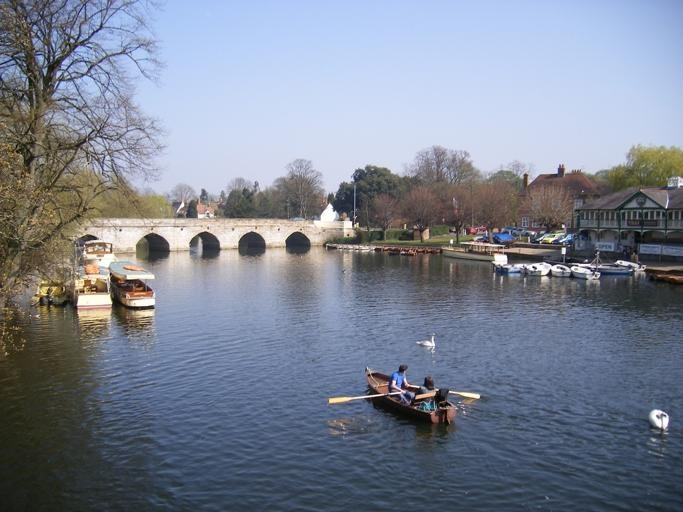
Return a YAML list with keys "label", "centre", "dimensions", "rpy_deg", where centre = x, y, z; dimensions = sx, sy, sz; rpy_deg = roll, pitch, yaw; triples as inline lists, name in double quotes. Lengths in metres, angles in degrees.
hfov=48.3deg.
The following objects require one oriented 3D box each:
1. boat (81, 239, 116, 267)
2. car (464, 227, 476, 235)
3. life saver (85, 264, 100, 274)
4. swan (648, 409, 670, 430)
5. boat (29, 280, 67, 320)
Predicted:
- label: "boat"
  centre: [-25.414, -0.572, 80.266]
  dimensions: [3.001, 3.329, 9.157]
  rpy_deg: [-1, -1, -23]
- label: "car"
  centre: [27.243, -5.254, 160.266]
  dimensions: [2.283, 1.624, 4.825]
  rpy_deg: [1, 6, 11]
- label: "life saver"
  centre: [-22.356, 1.203, 67.778]
  dimensions: [0.774, 0.489, 1.048]
  rpy_deg: [1, 6, -1]
- label: "swan"
  centre: [16.634, 8.498, 39.951]
  dimensions: [0.696, 0.806, 1.203]
  rpy_deg: [-6, 8, 10]
- label: "boat"
  centre: [-25.778, 3.271, 67.235]
  dimensions: [3.042, 1.828, 3.984]
  rpy_deg: [-3, 7, -27]
